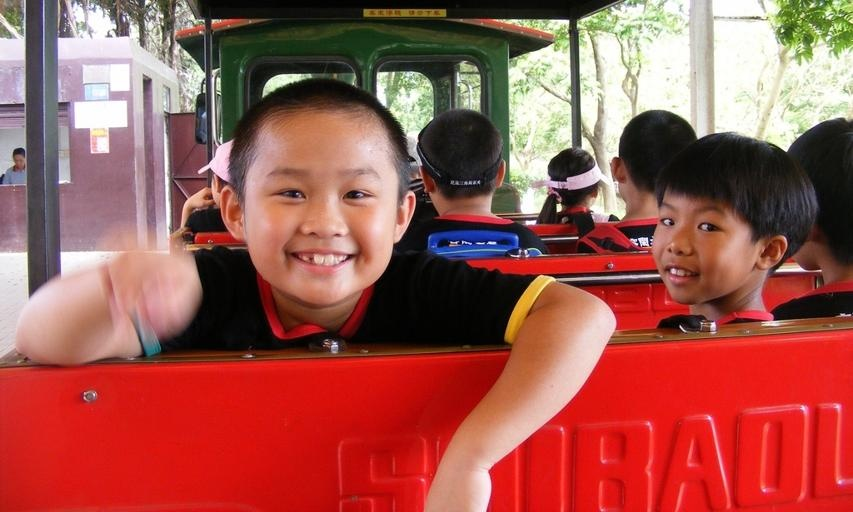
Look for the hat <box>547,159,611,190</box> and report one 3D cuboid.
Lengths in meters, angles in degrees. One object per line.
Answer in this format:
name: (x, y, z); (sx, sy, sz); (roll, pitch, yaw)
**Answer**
hat: (1.081, -0.540, 4.929); (0.288, 0.075, 0.228); (-16, 10, -22)
